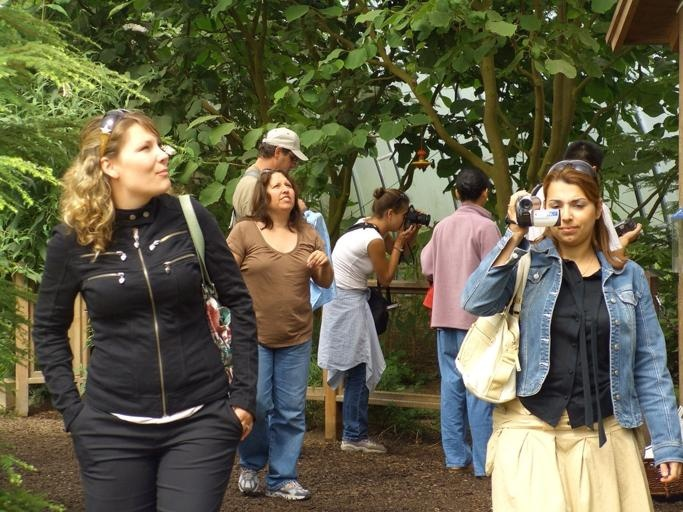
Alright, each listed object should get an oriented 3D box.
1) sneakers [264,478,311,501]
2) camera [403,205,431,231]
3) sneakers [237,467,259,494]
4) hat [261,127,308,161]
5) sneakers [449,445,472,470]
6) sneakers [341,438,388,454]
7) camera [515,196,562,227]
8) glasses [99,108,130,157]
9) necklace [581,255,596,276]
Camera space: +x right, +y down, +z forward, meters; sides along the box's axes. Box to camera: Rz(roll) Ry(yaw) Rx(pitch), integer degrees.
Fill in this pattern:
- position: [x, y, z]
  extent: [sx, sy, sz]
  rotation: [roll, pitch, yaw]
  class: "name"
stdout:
- position: [-0.402, 1.775, 5.125]
  extent: [0.306, 0.128, 0.143]
  rotation: [1, -3, 7]
  class: "sneakers"
- position: [0.713, -0.383, 6.351]
  extent: [0.214, 0.152, 0.263]
  rotation: [-2, 8, 3]
  class: "camera"
- position: [-0.715, 1.736, 5.164]
  extent: [0.106, 0.121, 0.281]
  rotation: [3, -3, -7]
  class: "sneakers"
- position: [-0.429, -0.914, 5.418]
  extent: [0.364, 0.186, 0.230]
  rotation: [9, 10, -22]
  class: "hat"
- position: [1.037, 1.774, 5.910]
  extent: [0.244, 0.258, 0.156]
  rotation: [1, -7, -8]
  class: "sneakers"
- position: [0.224, 1.880, 6.637]
  extent: [0.451, 0.174, 0.157]
  rotation: [0, -3, -3]
  class: "sneakers"
- position: [0.846, -0.187, 2.879]
  extent: [0.154, 0.104, 0.147]
  rotation: [0, 0, 8]
  class: "camera"
- position: [-0.969, -0.530, 2.825]
  extent: [0.088, 0.184, 0.140]
  rotation: [14, 8, -13]
  class: "glasses"
- position: [1.122, 0.039, 3.035]
  extent: [0.069, 0.090, 0.024]
  rotation: [2, -42, 22]
  class: "necklace"
